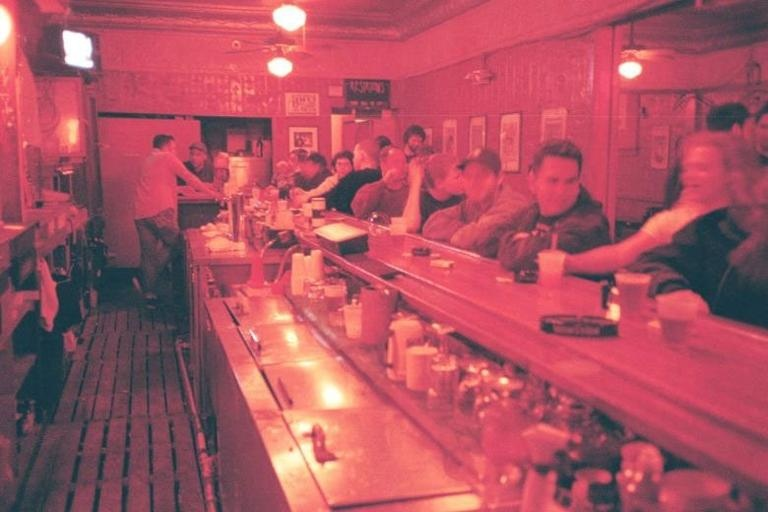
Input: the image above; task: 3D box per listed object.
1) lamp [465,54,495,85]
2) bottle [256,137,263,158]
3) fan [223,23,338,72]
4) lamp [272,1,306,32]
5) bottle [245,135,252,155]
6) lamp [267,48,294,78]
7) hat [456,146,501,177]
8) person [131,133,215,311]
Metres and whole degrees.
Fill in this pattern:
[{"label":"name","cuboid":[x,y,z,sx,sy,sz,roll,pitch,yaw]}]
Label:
[{"label":"lamp","cuboid":[1.060,-1.925,6.847,0.338,0.168,0.442,11,25,27]},{"label":"bottle","cuboid":[-2.008,-1.690,10.290,0.095,0.254,0.293,0,13,-11]},{"label":"fan","cuboid":[-1.473,-2.784,8.642,1.097,0.925,1.054,-9,24,-26]},{"label":"lamp","cuboid":[-0.880,-2.191,5.948,0.259,0.235,0.395,2,13,-3]},{"label":"bottle","cuboid":[-2.184,-1.726,10.322,0.118,0.267,0.275,-1,13,-12]},{"label":"lamp","cuboid":[-1.084,-1.970,6.638,0.211,0.232,0.363,-1,13,-15]},{"label":"hat","cuboid":[0.569,-0.549,3.824,0.135,0.157,0.180,-8,17,-35]},{"label":"person","cuboid":[-2.453,-0.366,7.376,0.753,1.948,1.003,-2,13,-17]}]
